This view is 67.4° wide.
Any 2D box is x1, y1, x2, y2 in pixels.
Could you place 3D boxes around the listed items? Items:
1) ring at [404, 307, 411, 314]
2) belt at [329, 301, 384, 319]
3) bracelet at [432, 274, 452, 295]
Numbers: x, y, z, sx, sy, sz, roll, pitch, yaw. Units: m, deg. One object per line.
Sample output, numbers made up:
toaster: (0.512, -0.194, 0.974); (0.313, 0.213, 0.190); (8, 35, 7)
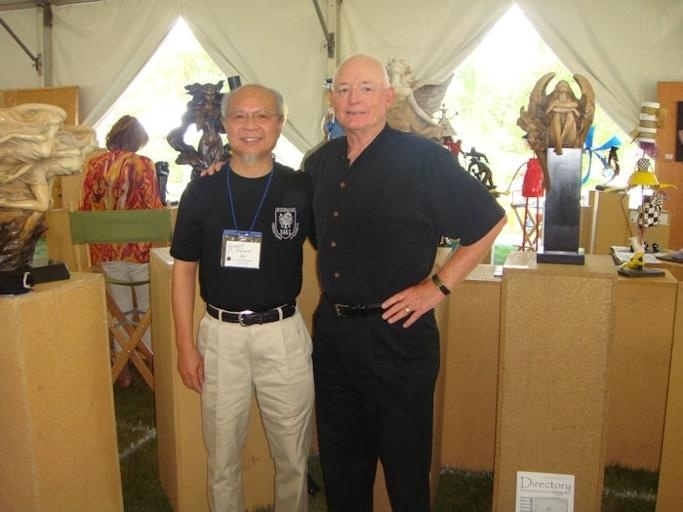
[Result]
ring: (0.281, 0.230, 2.154); (0.033, 0.026, 0.019); (-1, 5, -35)
belt: (0.069, 0.233, 2.199); (0.205, 0.064, 0.026); (3, 4, 14)
bracelet: (0.420, 0.117, 2.153); (0.061, 0.039, 0.065); (-41, -3, 6)
